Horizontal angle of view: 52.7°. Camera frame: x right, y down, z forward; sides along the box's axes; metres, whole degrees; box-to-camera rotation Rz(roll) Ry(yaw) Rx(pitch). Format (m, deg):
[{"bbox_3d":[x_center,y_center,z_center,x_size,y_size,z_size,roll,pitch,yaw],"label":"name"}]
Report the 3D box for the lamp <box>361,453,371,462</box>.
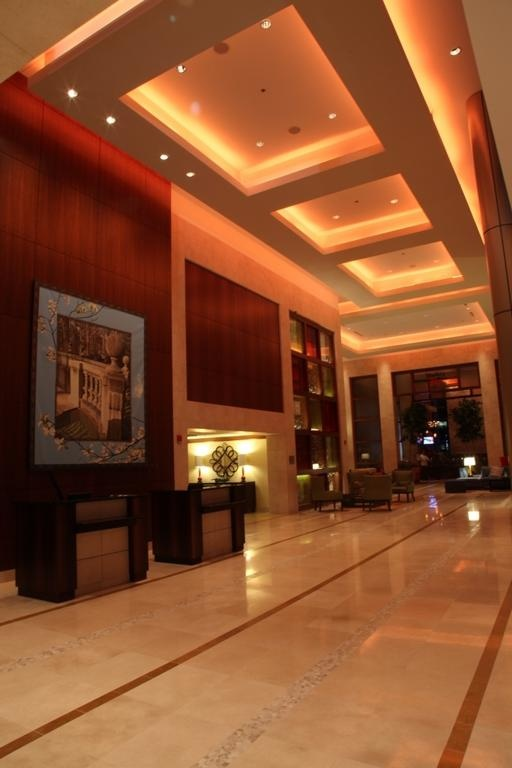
[{"bbox_3d":[5.378,3.692,25.528,0.360,0.595,0.386,-1,-7,3],"label":"lamp"}]
